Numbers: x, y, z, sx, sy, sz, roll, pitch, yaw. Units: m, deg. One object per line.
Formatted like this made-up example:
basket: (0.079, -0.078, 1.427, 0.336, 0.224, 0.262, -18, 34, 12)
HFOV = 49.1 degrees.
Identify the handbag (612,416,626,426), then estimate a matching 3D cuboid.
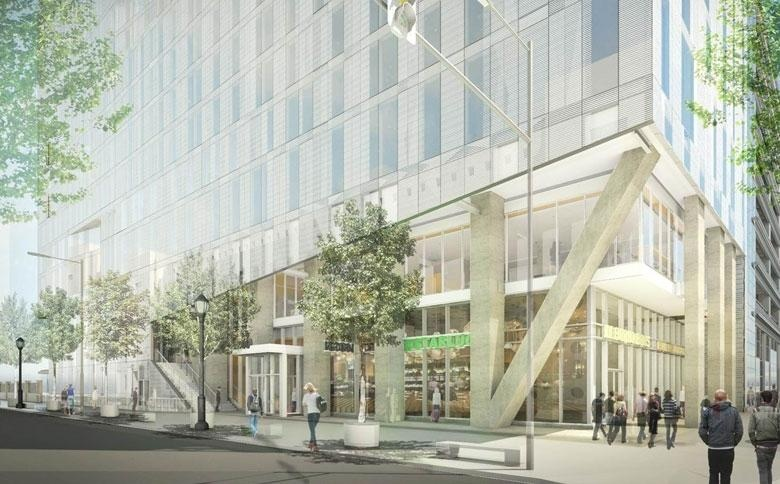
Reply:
handbag: (11.998, 9.318, 44.905, 0.533, 0.503, 1.091, -11, -19, 35)

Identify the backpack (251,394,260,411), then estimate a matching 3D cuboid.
backpack: (-7.167, 8.448, 45.295, 0.270, 0.922, 0.517, -7, -17, 26)
